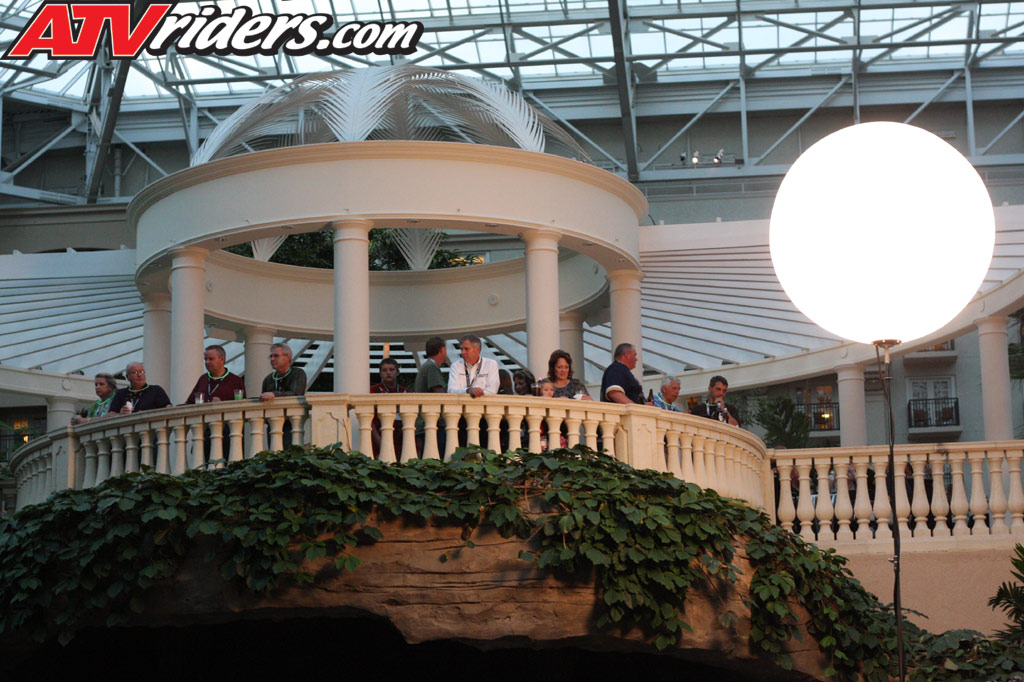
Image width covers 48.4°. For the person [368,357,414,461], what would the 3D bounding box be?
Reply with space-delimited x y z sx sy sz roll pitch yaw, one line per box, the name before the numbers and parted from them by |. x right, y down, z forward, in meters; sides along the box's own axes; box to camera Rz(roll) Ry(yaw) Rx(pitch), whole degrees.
person | -1.723 0.890 16.067 0.507 1.604 1.725 3 -11 -6

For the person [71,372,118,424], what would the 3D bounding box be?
person | -6.262 0.962 17.216 0.727 0.933 0.565 -4 1 -44

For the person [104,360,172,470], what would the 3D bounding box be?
person | -5.436 1.127 16.597 0.917 2.052 0.662 -10 -49 -9

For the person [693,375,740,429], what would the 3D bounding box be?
person | 3.070 1.050 17.313 0.663 0.964 0.551 12 -7 -15

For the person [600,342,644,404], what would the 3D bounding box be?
person | 1.579 0.486 16.212 0.565 0.983 0.993 1 -11 5

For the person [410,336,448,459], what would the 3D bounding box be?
person | -1.090 0.876 16.275 0.542 1.773 0.726 1 5 -25

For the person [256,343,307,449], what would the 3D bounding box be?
person | -3.179 0.748 15.838 0.574 1.506 1.123 4 -11 -11
